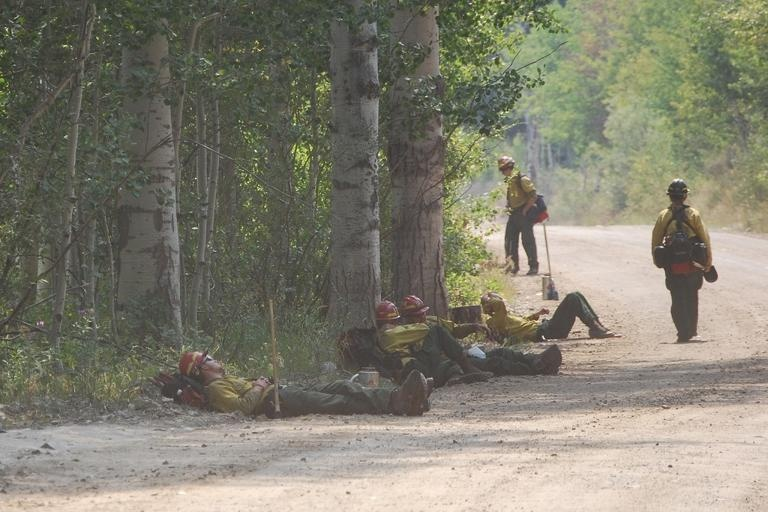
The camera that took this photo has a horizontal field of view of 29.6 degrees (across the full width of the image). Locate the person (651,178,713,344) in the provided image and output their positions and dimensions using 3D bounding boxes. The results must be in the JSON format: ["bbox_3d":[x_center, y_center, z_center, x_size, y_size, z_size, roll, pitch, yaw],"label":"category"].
[{"bbox_3d":[6.178,0.145,29.999,1.249,3.278,0.636,2,11,12],"label":"person"}]

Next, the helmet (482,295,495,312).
[{"bbox_3d":[2.122,0.994,29.535,0.217,0.416,0.288,3,7,26],"label":"helmet"}]

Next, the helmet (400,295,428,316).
[{"bbox_3d":[0.558,1.011,27.994,0.449,0.259,0.337,-13,-1,21],"label":"helmet"}]

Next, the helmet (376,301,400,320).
[{"bbox_3d":[0.060,1.109,28.409,0.393,0.216,0.323,-10,-2,22],"label":"helmet"}]

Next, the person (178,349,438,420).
[{"bbox_3d":[-1.510,2.277,25.490,4.244,1.081,0.601,0,10,3],"label":"person"}]

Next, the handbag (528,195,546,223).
[{"bbox_3d":[4.021,-1.111,37.182,0.285,0.684,0.473,16,-4,-35],"label":"handbag"}]

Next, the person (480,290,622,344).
[{"bbox_3d":[3.272,1.392,30.105,1.937,0.814,1.341,-7,-2,1],"label":"person"}]

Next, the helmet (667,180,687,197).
[{"bbox_3d":[6.057,-1.359,30.023,0.302,0.279,0.442,2,5,17],"label":"helmet"}]

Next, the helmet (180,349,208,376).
[{"bbox_3d":[-3.381,1.876,25.727,0.384,0.474,0.356,32,0,-10],"label":"helmet"}]

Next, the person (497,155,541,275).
[{"bbox_3d":[3.455,-0.993,37.216,0.981,3.046,1.433,0,10,5],"label":"person"}]

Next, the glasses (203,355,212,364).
[{"bbox_3d":[-3.120,1.840,25.642,0.139,0.162,0.114,6,3,-14],"label":"glasses"}]
